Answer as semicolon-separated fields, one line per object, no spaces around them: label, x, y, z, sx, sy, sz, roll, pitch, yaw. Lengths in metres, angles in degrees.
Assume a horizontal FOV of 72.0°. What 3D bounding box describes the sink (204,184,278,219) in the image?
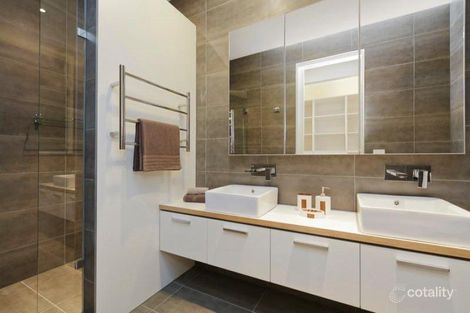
sink;0.060;0.408;3.089;0.595;0.272;0.522;-2;0;23

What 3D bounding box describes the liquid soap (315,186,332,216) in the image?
liquid soap;0.800;0.396;2.911;0.130;0.232;0.259;-2;0;17

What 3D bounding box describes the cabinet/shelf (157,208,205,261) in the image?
cabinet/shelf;-0.476;0.732;3.052;0.452;0.446;0.277;1;-15;22

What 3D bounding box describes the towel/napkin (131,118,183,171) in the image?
towel/napkin;-0.736;-0.100;2.952;0.204;0.470;0.503;-5;-6;39
